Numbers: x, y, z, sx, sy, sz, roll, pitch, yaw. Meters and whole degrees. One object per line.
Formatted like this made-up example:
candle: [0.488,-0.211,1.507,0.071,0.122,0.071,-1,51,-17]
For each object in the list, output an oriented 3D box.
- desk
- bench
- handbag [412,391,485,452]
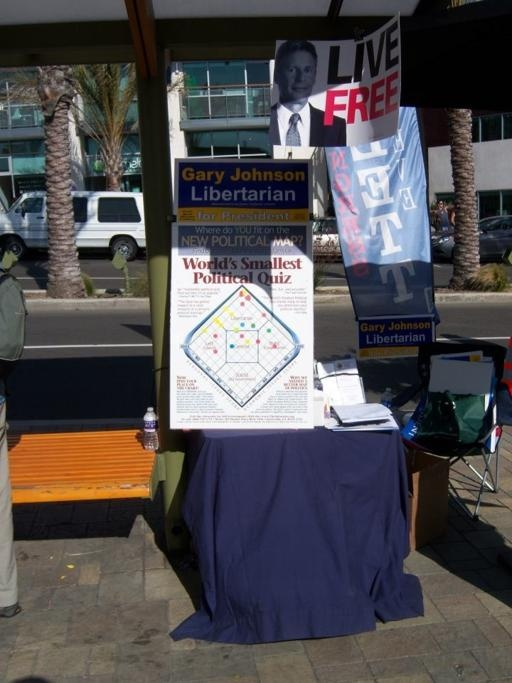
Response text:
desk: [0.245,0.979,3.262,1.340,0.986,0.676,-3,-8,-5]
bench: [-1.184,0.787,4.024,0.994,0.089,1.312,-3,11,-13]
handbag: [1.479,0.608,4.609,0.405,0.177,0.537,-6,29,33]
